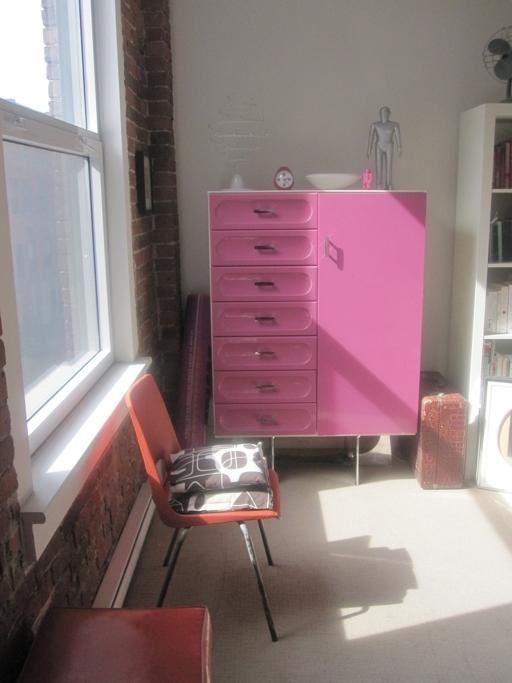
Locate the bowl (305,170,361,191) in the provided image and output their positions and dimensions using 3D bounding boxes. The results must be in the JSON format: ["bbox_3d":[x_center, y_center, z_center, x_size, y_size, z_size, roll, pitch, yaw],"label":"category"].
[{"bbox_3d":[0.370,-0.791,2.758,0.238,0.107,0.249,0,11,0],"label":"bowl"}]

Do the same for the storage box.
[{"bbox_3d":[0.919,0.472,2.876,0.213,0.724,0.592,0,0,5],"label":"storage box"}]

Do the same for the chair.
[{"bbox_3d":[-0.166,0.543,1.939,0.486,0.812,0.435,0,10,2],"label":"chair"}]

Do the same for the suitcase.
[{"bbox_3d":[0.920,0.469,2.877,0.184,0.630,0.534,1,5,6],"label":"suitcase"}]
